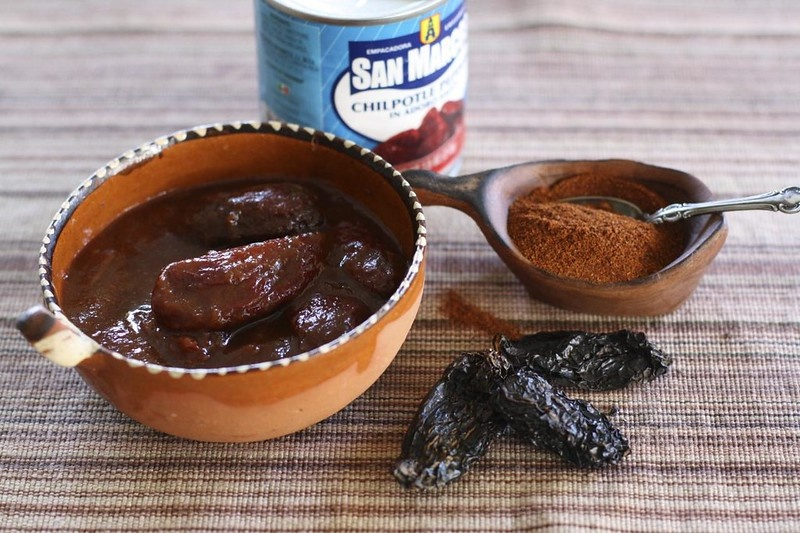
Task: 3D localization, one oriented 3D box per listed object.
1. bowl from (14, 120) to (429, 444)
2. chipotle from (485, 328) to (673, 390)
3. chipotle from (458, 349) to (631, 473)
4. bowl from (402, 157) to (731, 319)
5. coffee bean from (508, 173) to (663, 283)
[{"bbox_3d":[-0.327,0.009,1.858,0.713,0.282,0.631,11,54,1],"label":"bowl"},{"bbox_3d":[0.352,0.190,1.949,0.377,0.111,0.128,-2,50,-2],"label":"chipotle"},{"bbox_3d":[0.296,0.284,1.833,0.306,0.086,0.186,31,17,-11],"label":"chipotle"},{"bbox_3d":[0.356,-0.059,2.043,0.629,0.176,0.348,7,47,11],"label":"bowl"},{"bbox_3d":[0.414,-0.086,2.036,0.357,0.073,0.277,5,54,-3],"label":"coffee bean"}]
